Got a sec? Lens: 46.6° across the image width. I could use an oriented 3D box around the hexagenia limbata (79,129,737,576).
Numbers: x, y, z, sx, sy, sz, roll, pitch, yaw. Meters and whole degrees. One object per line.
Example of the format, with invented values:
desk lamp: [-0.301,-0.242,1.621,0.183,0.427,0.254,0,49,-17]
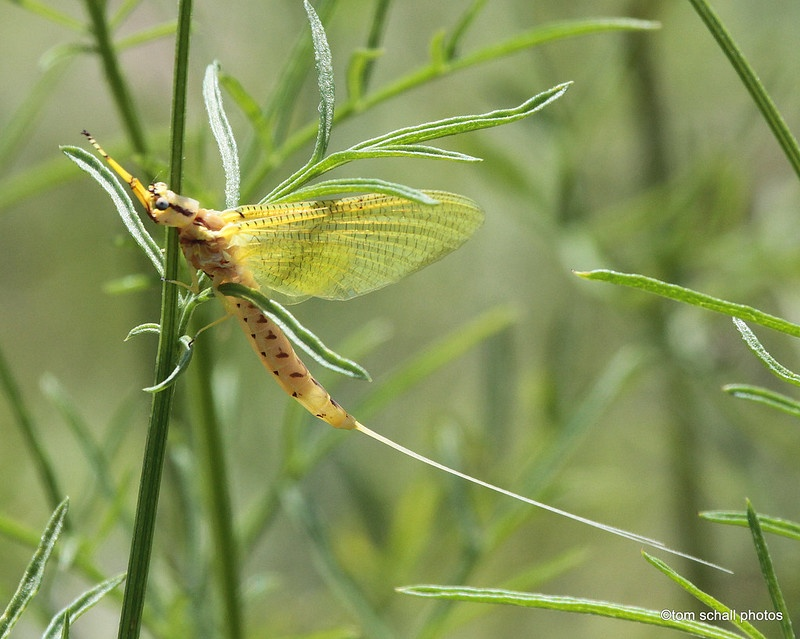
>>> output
hexagenia limbata: [-0.125,0.023,1.149,0.505,0.740,0.215,-6,-47,-17]
